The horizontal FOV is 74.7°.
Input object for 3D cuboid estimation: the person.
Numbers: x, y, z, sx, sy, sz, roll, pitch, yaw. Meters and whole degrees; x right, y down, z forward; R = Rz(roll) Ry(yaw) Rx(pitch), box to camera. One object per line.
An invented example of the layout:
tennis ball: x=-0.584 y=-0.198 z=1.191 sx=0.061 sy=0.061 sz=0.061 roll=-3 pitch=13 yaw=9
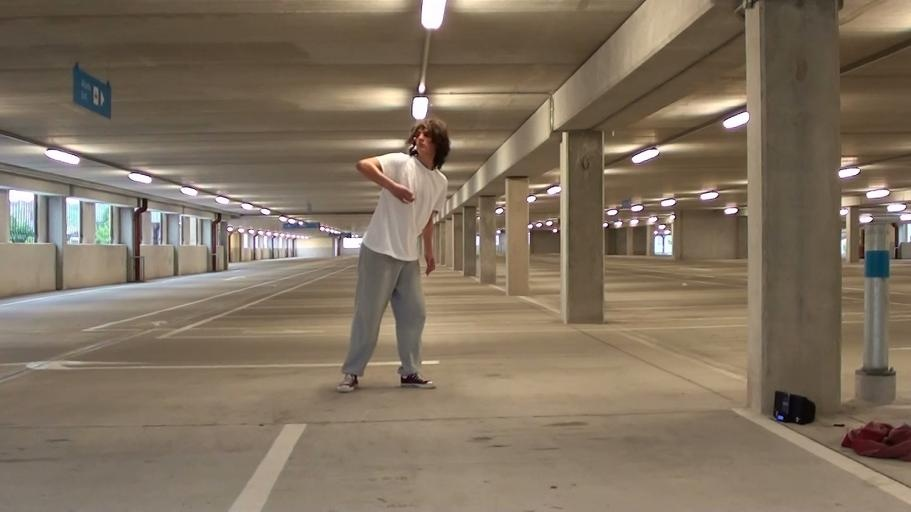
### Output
person: x=-0.797 y=0.009 z=8.192 sx=1.609 sy=3.720 sz=0.760 roll=-8 pitch=15 yaw=-31

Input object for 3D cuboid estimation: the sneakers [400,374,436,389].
sneakers: x=-0.547 y=1.766 z=8.405 sx=0.528 sy=0.208 sz=0.188 roll=0 pitch=-6 yaw=4

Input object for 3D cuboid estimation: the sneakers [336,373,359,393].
sneakers: x=-1.506 y=1.781 z=8.367 sx=0.164 sy=0.155 sz=0.411 roll=-1 pitch=-10 yaw=3
